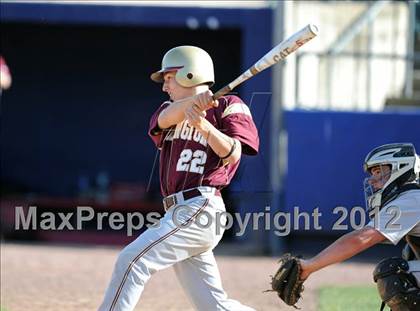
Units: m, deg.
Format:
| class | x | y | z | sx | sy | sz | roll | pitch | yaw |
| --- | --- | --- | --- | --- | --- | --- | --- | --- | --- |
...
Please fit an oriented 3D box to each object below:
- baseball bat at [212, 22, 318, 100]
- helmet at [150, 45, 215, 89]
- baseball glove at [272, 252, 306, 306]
| class | x | y | z | sx | sy | sz | roll | pitch | yaw |
| --- | --- | --- | --- | --- | --- | --- | --- | --- | --- |
| baseball bat | 0.446 | -0.854 | 7.170 | 1.441 | 0.164 | 0.160 | -36 | -24 | 20 |
| helmet | -0.212 | -0.682 | 6.316 | 0.400 | 0.279 | 0.313 | 0 | -13 | 6 |
| baseball glove | 0.610 | 0.973 | 6.258 | 0.265 | 0.389 | 0.197 | 3 | -1 | 21 |
